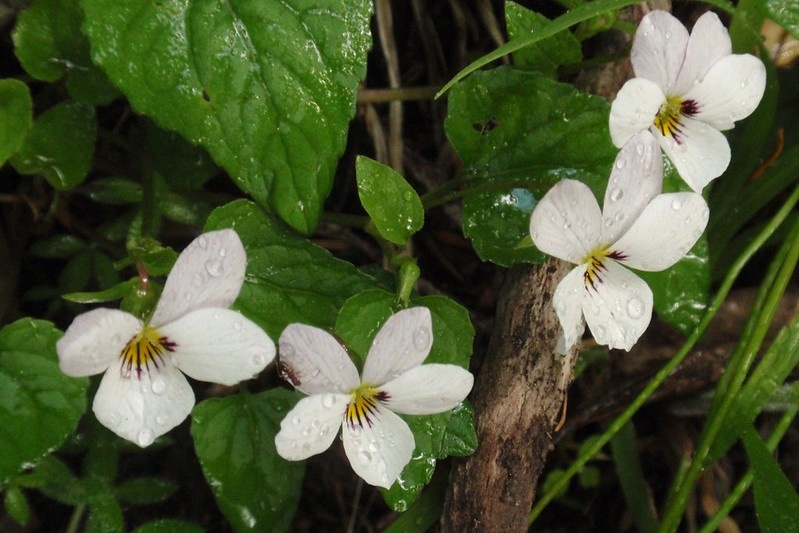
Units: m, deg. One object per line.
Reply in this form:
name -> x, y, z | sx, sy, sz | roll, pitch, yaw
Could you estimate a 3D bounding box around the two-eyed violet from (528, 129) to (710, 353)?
two-eyed violet -> 0.643, -0.076, 2.305 | 0.511, 0.526, 0.161 | 26, 75, 35
